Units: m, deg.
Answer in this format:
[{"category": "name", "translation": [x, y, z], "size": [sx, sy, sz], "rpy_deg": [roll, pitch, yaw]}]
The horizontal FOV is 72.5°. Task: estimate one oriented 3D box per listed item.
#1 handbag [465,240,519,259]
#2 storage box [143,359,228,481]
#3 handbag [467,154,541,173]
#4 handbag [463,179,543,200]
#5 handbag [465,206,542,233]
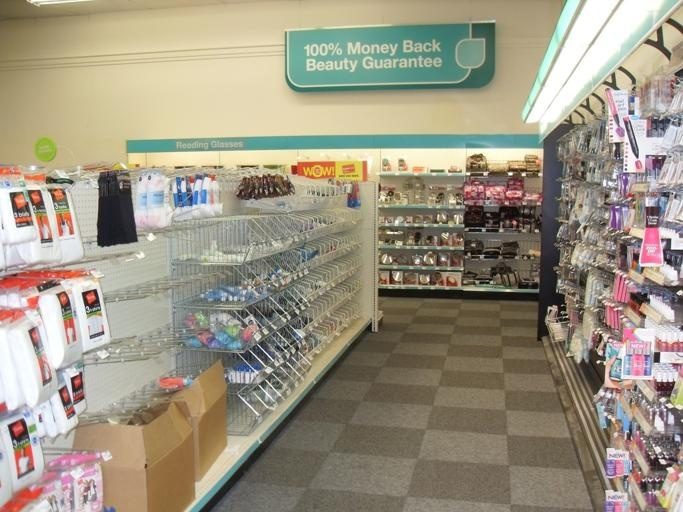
[{"category": "handbag", "translation": [2.963, -0.149, 9.247], "size": [0.995, 0.333, 0.332], "rpy_deg": [0, 11, 10]}, {"category": "storage box", "translation": [-0.839, 1.075, 3.071], "size": [0.368, 0.503, 0.446], "rpy_deg": [-16, -7, -8]}, {"category": "handbag", "translation": [3.128, -1.799, 9.014], "size": [1.387, 0.393, 0.410], "rpy_deg": [1, 11, 15]}, {"category": "handbag", "translation": [3.195, -1.324, 9.252], "size": [1.468, 0.496, 0.624], "rpy_deg": [1, 11, 15]}, {"category": "handbag", "translation": [3.174, -0.717, 8.924], "size": [1.803, 0.484, 0.620], "rpy_deg": [-1, 2, 2]}]
